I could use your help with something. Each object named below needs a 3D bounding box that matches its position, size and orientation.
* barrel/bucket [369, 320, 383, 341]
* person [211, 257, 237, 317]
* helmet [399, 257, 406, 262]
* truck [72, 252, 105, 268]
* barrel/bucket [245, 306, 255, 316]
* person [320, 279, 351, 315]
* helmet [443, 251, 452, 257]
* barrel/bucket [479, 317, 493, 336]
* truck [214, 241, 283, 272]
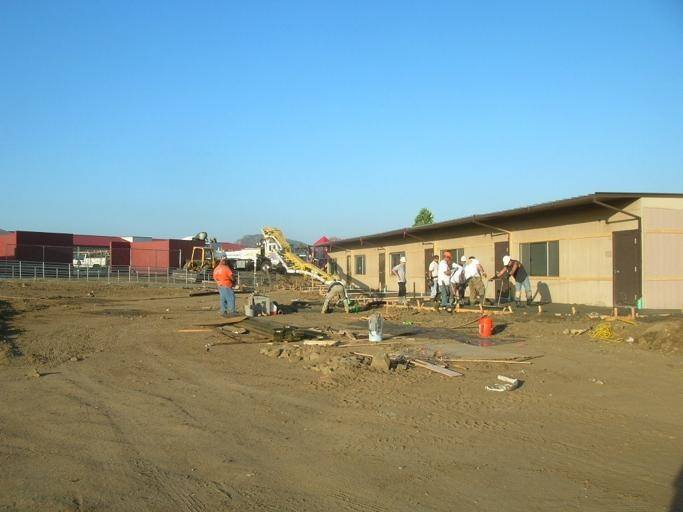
[{"bbox_3d":[0.701,1.562,11.592,0.245,0.467,0.270,0,10,2],"label":"barrel/bucket"},{"bbox_3d":[-3.293,0.936,15.456,0.540,1.483,0.834,-2,10,-10],"label":"person"},{"bbox_3d":[2.551,0.124,23.244,0.311,0.185,0.268,-7,9,-42],"label":"helmet"},{"bbox_3d":[-22.764,0.351,49.382,3.194,1.189,1.675,0,1,-8],"label":"truck"},{"bbox_3d":[-2.563,1.519,15.164,0.318,0.265,0.274,-1,-6,-2],"label":"barrel/bucket"},{"bbox_3d":[-0.176,1.204,17.269,0.967,0.392,1.365,4,34,-1],"label":"person"},{"bbox_3d":[3.447,-0.073,18.033,0.177,0.187,0.193,-11,35,6],"label":"helmet"},{"bbox_3d":[3.315,1.617,12.611,0.311,0.462,0.620,3,9,14],"label":"barrel/bucket"},{"bbox_3d":[-6.615,0.102,41.394,6.061,1.998,2.028,0,1,28],"label":"truck"}]
